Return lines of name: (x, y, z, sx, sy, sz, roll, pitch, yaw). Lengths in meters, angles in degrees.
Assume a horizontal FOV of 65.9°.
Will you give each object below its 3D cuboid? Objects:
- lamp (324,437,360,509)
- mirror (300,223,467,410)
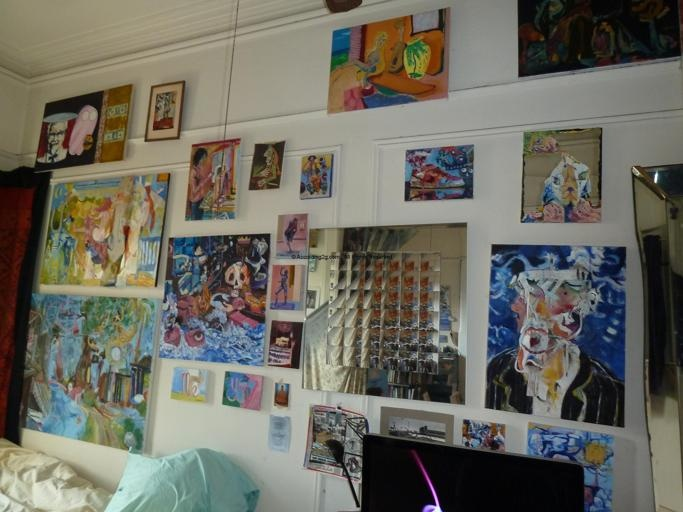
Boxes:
lamp: (0.027, 1.224, 2.919, 0.184, 0.346, 0.439, 3, -8, -9)
mirror: (0.288, 0.381, 3.112, 1.019, 1.146, 0.037, -1, -9, 18)
